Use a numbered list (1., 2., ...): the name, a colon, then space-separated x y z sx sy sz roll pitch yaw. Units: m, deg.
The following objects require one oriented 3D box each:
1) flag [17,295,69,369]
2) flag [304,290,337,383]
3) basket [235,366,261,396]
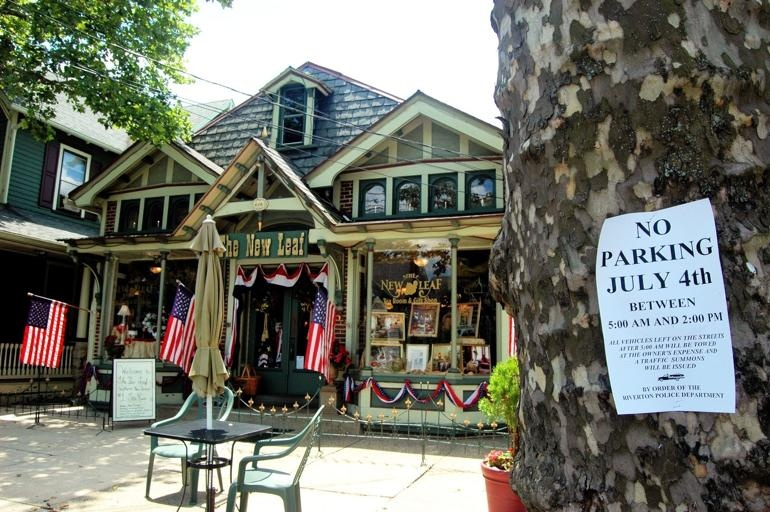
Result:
1. flag: -7.098 1.559 12.720 0.689 1.455 0.542 7 -12 -26
2. flag: -1.186 1.411 11.373 0.248 1.569 0.525 -7 -14 38
3. basket: -2.961 2.764 13.378 0.654 0.650 0.542 -4 -8 20
